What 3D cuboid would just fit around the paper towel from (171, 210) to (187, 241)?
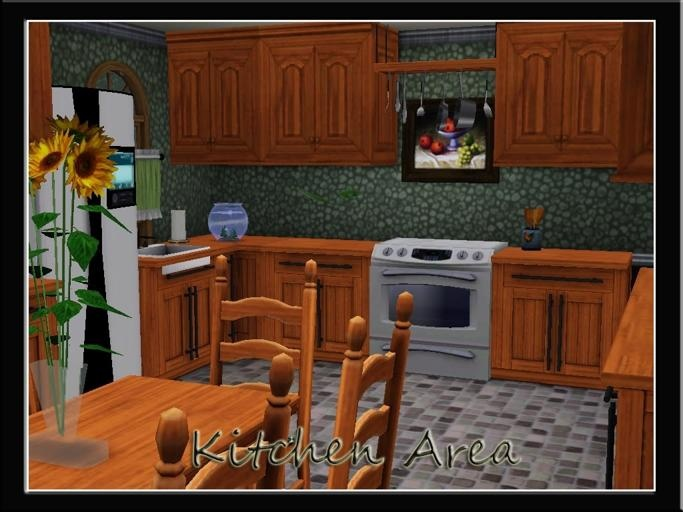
[{"bbox_3d":[-1.569,-0.283,4.900,0.133,0.289,0.092,-1,8,-9],"label":"paper towel"}]
